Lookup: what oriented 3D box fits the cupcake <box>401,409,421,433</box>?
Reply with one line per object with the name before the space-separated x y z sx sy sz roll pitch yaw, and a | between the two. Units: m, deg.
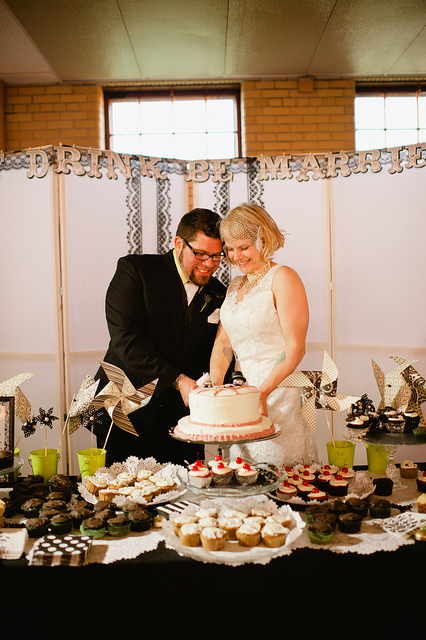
cupcake | 0.687 0.350 1.975 0.065 0.105 0.064 0 2 8

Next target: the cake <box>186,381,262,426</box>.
cake | 0.031 0.264 1.842 0.222 0.095 0.210 -3 6 0

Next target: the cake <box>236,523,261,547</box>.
cake | 0.095 0.565 1.489 0.056 0.042 0.053 1 -8 -1

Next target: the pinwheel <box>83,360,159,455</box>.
pinwheel | -0.336 0.306 1.990 0.252 0.332 0.101 0 5 14

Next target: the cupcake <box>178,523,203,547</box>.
cupcake | -0.061 0.561 1.479 0.051 0.032 0.048 0 -10 2

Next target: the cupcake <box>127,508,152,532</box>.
cupcake | -0.211 0.568 1.604 0.061 0.038 0.059 5 10 18

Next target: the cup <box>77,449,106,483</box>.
cup | -0.427 0.501 1.977 0.105 0.097 0.106 3 1 0

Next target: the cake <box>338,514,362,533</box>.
cake | 0.376 0.554 1.542 0.049 0.032 0.048 0 -9 1

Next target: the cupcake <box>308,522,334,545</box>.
cupcake | 0.279 0.558 1.472 0.060 0.037 0.051 5 -17 -14

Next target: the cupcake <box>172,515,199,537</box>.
cupcake | -0.074 0.562 1.547 0.053 0.033 0.049 1 -2 17

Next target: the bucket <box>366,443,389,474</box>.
bucket | 0.585 0.497 2.016 0.072 0.103 0.104 0 5 14

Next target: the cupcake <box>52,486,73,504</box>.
cupcake | -0.476 0.551 1.786 0.049 0.041 0.047 2 -1 -31

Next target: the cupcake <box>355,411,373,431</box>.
cupcake | 0.514 0.350 1.942 0.046 0.043 0.119 -3 -12 9

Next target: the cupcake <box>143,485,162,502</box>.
cupcake | -0.189 0.548 1.779 0.040 0.030 0.038 2 -1 7

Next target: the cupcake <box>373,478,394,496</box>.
cupcake | 0.544 0.535 1.816 0.054 0.031 0.052 -1 4 19

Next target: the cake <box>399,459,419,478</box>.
cake | 0.705 0.526 2.021 0.060 0.048 0.062 1 2 41

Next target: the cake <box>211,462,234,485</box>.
cake | 0.022 0.456 1.673 0.062 0.049 0.061 1 -11 2

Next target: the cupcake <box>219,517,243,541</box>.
cupcake | 0.047 0.566 1.529 0.057 0.046 0.054 -1 -10 6

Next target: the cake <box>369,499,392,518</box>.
cake | 0.483 0.547 1.637 0.053 0.034 0.051 4 -4 -41

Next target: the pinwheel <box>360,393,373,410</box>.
pinwheel | 0.565 0.302 2.081 0.061 0.053 0.022 1 -6 -10

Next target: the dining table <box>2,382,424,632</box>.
dining table | -0.031 0.488 1.658 1.330 0.509 0.768 0 5 9

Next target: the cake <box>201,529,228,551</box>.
cake | 0.000 0.568 1.458 0.053 0.030 0.050 1 0 1

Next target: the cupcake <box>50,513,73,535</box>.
cupcake | -0.425 0.571 1.601 0.052 0.042 0.052 6 9 36

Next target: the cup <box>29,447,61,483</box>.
cup | -0.591 0.511 2.022 0.118 0.100 0.119 4 -2 0

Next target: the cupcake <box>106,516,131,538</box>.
cupcake | -0.261 0.575 1.568 0.053 0.036 0.055 1 3 -6

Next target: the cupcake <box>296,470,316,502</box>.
cupcake | 0.294 0.534 1.801 0.062 0.033 0.058 0 -5 -3

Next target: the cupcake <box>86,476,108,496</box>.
cupcake | -0.368 0.536 1.826 0.054 0.030 0.061 26 2 37

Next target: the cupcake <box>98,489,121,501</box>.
cupcake | -0.335 0.551 1.783 0.046 0.018 0.039 0 1 -13

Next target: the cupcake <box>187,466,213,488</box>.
cupcake | -0.038 0.461 1.657 0.072 0.057 0.055 -1 5 -2

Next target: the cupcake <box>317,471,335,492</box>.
cupcake | 0.368 0.530 1.845 0.053 0.045 0.050 -2 -1 15

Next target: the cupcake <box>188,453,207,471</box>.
cupcake | -0.051 0.425 1.711 0.040 0.039 0.038 -1 -8 6

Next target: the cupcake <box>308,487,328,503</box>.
cupcake | 0.324 0.546 1.755 0.059 0.026 0.066 -4 5 -30

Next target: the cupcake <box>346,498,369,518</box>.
cupcake | 0.417 0.539 1.623 0.052 0.033 0.053 0 -10 -3

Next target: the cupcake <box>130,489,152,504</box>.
cupcake | -0.220 0.547 1.755 0.043 0.023 0.040 1 5 -2

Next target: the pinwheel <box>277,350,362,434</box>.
pinwheel | 0.392 0.264 2.056 0.085 0.266 0.256 -6 7 -41

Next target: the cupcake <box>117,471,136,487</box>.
cupcake | -0.291 0.530 1.890 0.045 0.035 0.043 3 1 13

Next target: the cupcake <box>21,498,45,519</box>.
cupcake | -0.539 0.560 1.682 0.059 0.041 0.059 1 1 -7

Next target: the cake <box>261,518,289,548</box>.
cake | 0.160 0.559 1.471 0.059 0.038 0.055 0 -8 -4

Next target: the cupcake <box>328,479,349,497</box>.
cupcake | 0.402 0.536 1.810 0.056 0.044 0.053 0 -9 -2

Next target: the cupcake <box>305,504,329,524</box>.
cupcake | 0.285 0.546 1.607 0.050 0.032 0.056 1 2 17

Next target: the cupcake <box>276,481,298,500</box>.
cupcake | 0.232 0.541 1.791 0.067 0.047 0.050 -1 5 8

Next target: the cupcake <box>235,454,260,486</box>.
cupcake | 0.101 0.455 1.702 0.072 0.060 0.132 -1 4 4

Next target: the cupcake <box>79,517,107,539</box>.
cupcake | -0.327 0.570 1.553 0.058 0.044 0.054 2 6 -5

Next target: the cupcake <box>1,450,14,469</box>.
cupcake | -0.675 0.455 1.848 0.054 0.044 0.050 2 13 -7

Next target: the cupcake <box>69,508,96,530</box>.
cupcake | -0.379 0.562 1.614 0.065 0.048 0.060 1 2 -5

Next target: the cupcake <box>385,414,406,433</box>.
cupcake | 0.632 0.361 1.965 0.062 0.051 0.063 0 5 19

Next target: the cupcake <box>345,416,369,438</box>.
cupcake | 0.486 0.362 1.911 0.075 0.060 0.069 -2 1 25

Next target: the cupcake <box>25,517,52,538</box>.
cupcake | -0.489 0.579 1.578 0.056 0.039 0.057 1 0 -10

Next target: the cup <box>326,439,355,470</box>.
cup | 0.459 0.505 2.100 0.102 0.095 0.106 0 -8 0
